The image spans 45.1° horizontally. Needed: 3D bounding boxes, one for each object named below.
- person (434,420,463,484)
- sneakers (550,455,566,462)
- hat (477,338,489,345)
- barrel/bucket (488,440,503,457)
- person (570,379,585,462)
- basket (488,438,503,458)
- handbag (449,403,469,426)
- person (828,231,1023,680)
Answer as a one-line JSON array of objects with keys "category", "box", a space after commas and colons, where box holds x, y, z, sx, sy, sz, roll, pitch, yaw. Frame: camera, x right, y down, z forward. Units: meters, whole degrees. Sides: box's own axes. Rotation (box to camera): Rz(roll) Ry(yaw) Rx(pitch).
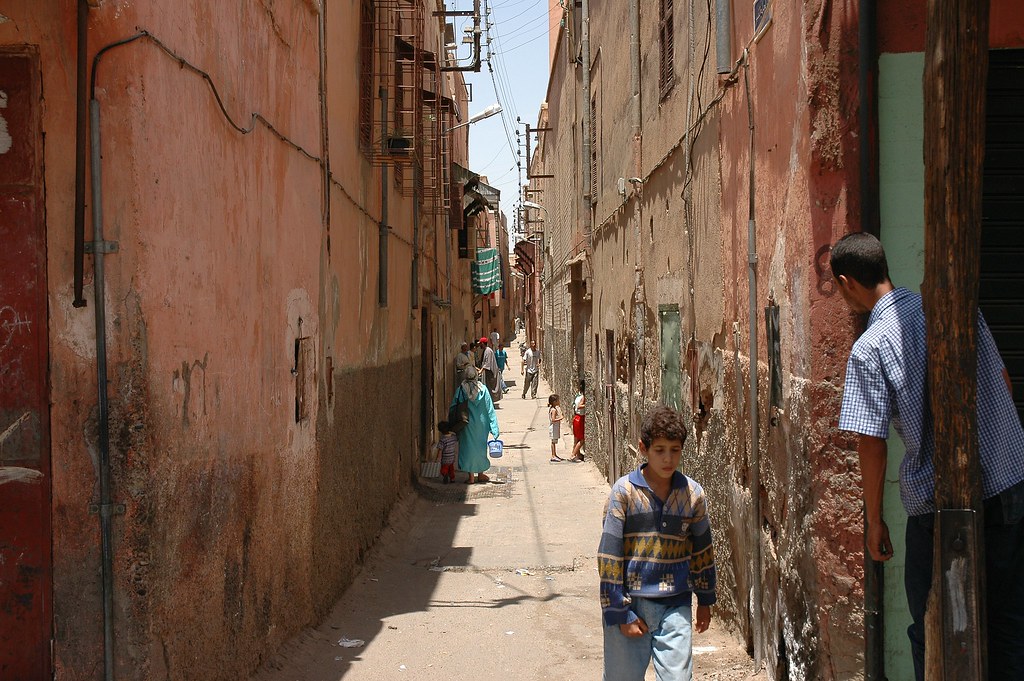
[{"category": "person", "box": [-0.846, 1.431, 16.275, 0.254, 0.896, 0.249, -1, 19, -16]}, {"category": "sneakers", "box": [0.707, 1.819, 19.147, 0.208, 0.108, 0.079, 0, 6, -3]}, {"category": "hat", "box": [-0.520, 0.003, 21.942, 0.190, 0.113, 0.353, -1, 4, -5]}, {"category": "barrel/bucket", "box": [-0.240, 1.518, 17.433, 0.191, 0.182, 0.222, 0, -14, 5]}, {"category": "person", "box": [1.052, 1.219, 19.298, 0.217, 1.190, 0.685, 0, 2, 3]}, {"category": "basket", "box": [-0.241, 1.513, 17.436, 0.214, 0.204, 0.246, 0, -8, 11]}, {"category": "handbag", "box": [-0.697, 0.974, 16.222, 0.239, 0.288, 0.313, 0, 2, -4]}, {"category": "person", "box": [2.021, 0.569, 6.034, 0.901, 2.204, 0.387, 1, 3, 17]}]
